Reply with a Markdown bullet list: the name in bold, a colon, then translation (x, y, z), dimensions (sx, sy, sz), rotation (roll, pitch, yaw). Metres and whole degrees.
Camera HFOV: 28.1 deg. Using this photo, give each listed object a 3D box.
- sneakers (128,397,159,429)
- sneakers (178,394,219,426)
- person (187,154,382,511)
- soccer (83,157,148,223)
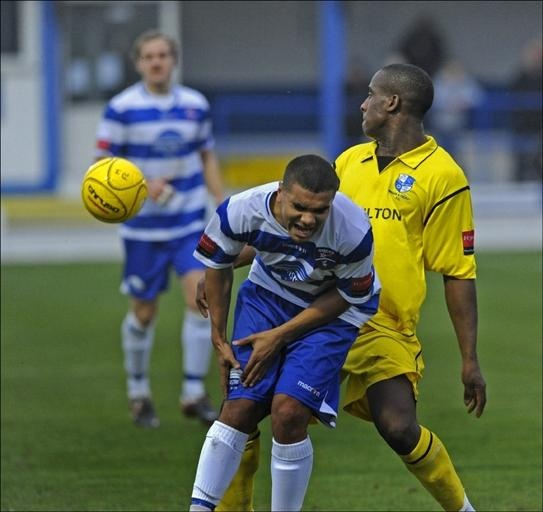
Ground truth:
- **sneakers**: translation (-0.608, 0.740, 5.125), dimensions (0.107, 0.141, 0.178), rotation (-15, -6, -11)
- **sneakers**: translation (-0.447, 0.950, 6.698), dimensions (0.293, 0.146, 0.103), rotation (11, 8, 43)
- **person**: translation (0.070, 0.393, 4.897), dimensions (0.835, 1.429, 0.559), rotation (0, 10, -2)
- **soccer**: translation (-0.714, -0.335, 5.159), dimensions (0.285, 0.314, 0.285), rotation (7, 10, 0)
